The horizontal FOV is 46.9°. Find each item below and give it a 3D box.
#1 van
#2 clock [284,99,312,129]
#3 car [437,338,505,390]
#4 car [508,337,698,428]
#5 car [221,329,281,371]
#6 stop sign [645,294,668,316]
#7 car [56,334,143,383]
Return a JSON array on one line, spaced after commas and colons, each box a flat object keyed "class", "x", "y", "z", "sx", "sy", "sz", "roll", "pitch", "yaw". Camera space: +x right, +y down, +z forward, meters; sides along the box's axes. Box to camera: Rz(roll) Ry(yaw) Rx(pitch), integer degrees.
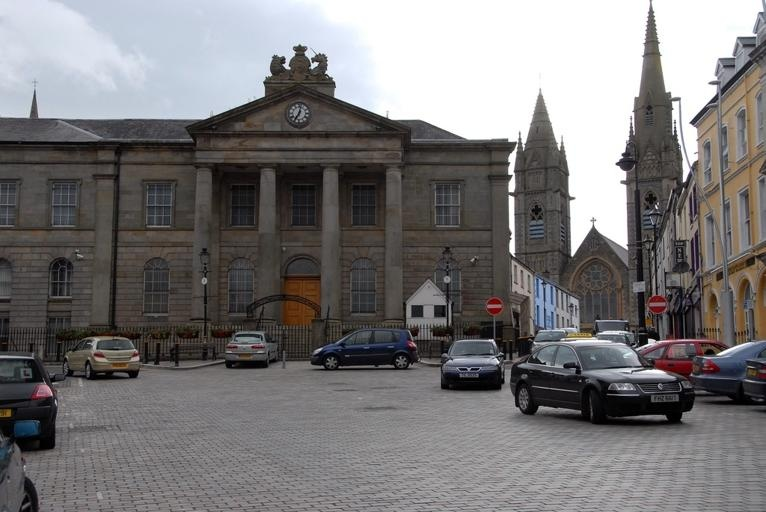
[{"class": "van", "x": -0.781, "y": 4.356, "z": 40.978, "sx": 4.050, "sy": 1.474, "sz": 2.125, "roll": 1, "pitch": -7, "yaw": 2}, {"class": "clock", "x": -5.175, "y": -8.687, "z": 54.398, "sx": 1.367, "sy": 1.336, "sz": 0.095, "roll": -34, "pitch": -4, "yaw": 4}, {"class": "car", "x": 3.137, "y": 3.803, "z": 31.215, "sx": 2.155, "sy": 1.774, "sz": 1.862, "roll": -1, "pitch": -8, "yaw": 4}, {"class": "car", "x": 5.654, "y": 3.255, "z": 23.313, "sx": 1.870, "sy": 2.140, "sz": 4.409, "roll": 6, "pitch": -10, "yaw": -38}, {"class": "car", "x": -6.553, "y": 4.709, "z": 43.913, "sx": 2.114, "sy": 1.334, "sz": 3.979, "roll": 0, "pitch": -1, "yaw": 1}, {"class": "stop sign", "x": 11.531, "y": 1.980, "z": 37.115, "sx": 0.630, "sy": 0.708, "sz": 1.440, "roll": -3, "pitch": -8, "yaw": 13}, {"class": "car", "x": -11.653, "y": 4.171, "z": 36.270, "sx": 3.105, "sy": 1.676, "sz": 1.346, "roll": -5, "pitch": -9, "yaw": 30}]
